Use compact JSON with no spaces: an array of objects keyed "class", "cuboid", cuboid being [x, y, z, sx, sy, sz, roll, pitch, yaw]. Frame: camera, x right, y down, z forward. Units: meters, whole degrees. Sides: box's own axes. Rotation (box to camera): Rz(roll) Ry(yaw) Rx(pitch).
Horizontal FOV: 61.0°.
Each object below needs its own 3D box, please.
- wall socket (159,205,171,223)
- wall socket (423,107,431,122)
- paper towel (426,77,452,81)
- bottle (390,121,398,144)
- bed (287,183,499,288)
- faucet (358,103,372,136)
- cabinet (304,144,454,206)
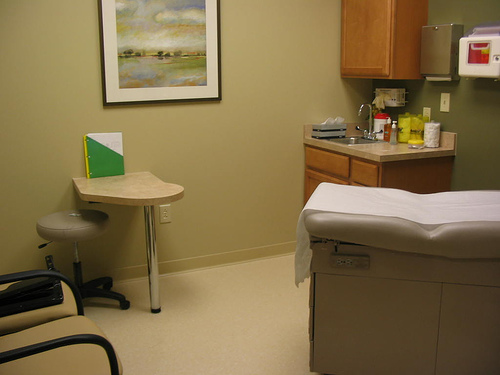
[{"class":"wall socket","cuboid":[-0.713,0.230,3.592,0.106,0.169,0.065,-8,15,-11]},{"class":"wall socket","cuboid":[1.492,-0.622,3.580,0.022,0.099,0.082,-9,15,-16]},{"class":"paper towel","cuboid":[1.512,-0.867,3.396,0.053,0.034,0.239,-11,16,-22]},{"class":"bottle","cuboid":[1.219,-0.460,3.592,0.055,0.183,0.067,0,16,18]},{"class":"bed","cuboid":[0.711,0.157,2.031,0.649,0.286,0.686,2,15,19]},{"class":"faucet","cuboid":[1.091,-0.659,4.011,0.123,0.256,0.270,0,15,15]},{"class":"cabinet","cuboid":[0.983,-0.157,3.539,0.629,0.441,1.193,-3,13,-15]}]
